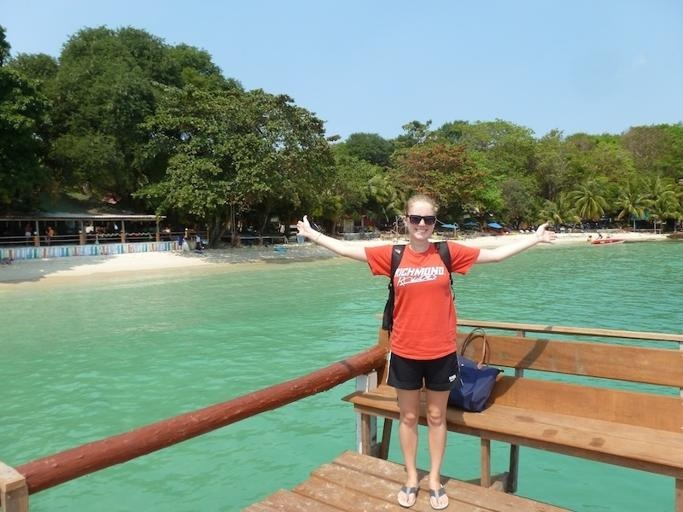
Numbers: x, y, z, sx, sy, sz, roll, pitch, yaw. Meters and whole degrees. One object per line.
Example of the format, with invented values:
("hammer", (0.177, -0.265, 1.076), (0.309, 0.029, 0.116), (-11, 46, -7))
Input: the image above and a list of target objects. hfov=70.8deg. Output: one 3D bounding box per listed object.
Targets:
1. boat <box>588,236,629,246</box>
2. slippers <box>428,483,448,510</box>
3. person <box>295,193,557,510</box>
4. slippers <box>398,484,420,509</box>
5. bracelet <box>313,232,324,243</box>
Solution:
("boat", (34.469, -1.954, 62.082), (4.779, 0.991, 1.481), (-2, 9, -27))
("slippers", (0.771, 1.876, 3.798), (0.151, 0.127, 0.204), (0, 2, 10))
("person", (0.711, 0.707, 4.066), (1.627, 2.461, 0.846), (-1, 3, -9))
("slippers", (0.534, 1.886, 3.818), (0.185, 0.129, 0.144), (-1, 2, -8))
("bracelet", (-0.204, -0.170, 4.313), (0.075, 0.094, 0.027), (-3, 1, 5))
